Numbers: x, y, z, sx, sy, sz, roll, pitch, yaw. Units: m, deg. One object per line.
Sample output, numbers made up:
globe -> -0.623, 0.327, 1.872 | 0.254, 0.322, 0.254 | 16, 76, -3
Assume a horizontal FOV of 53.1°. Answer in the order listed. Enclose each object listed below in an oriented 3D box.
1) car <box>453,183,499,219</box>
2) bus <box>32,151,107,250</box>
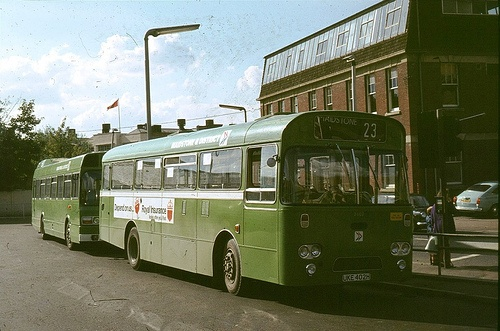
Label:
car -> 13.768, 2.072, 30.330 | 2.671, 1.227, 1.469 | 4, -7, -23
bus -> -8.481, 1.564, 24.656 | 2.763, 4.075, 9.141 | -2, -2, -34
